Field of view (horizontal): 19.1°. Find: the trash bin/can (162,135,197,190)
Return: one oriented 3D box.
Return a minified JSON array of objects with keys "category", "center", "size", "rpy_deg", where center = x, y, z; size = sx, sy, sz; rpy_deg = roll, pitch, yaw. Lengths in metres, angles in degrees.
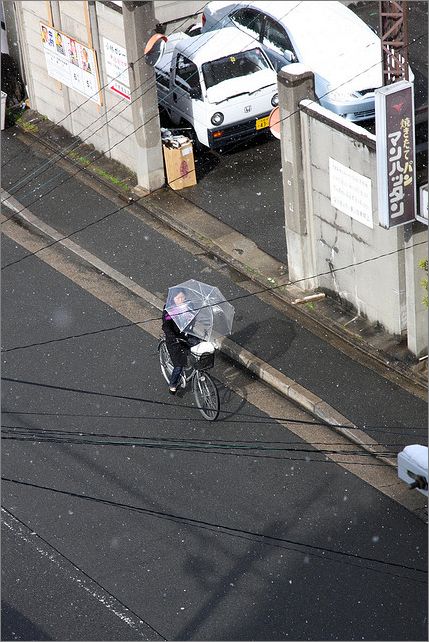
[{"category":"trash bin/can","center":[-0.619,-2.798,22.460],"size":[0.575,0.865,0.471],"rpy_deg":[-17,28,-22]}]

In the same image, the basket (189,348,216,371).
[{"category":"basket","center":[-0.176,0.534,16.701],"size":[0.219,0.226,0.276],"rpy_deg":[-16,24,-34]}]

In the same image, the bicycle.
[{"category":"bicycle","center":[-0.341,0.563,17.205],"size":[0.555,0.939,1.477],"rpy_deg":[-13,43,-25]}]

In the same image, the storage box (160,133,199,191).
[{"category":"storage box","center":[-0.568,-2.757,22.515],"size":[0.450,0.863,0.453],"rpy_deg":[-7,2,1]}]

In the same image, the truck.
[{"category":"truck","center":[-0.181,-4.699,24.189],"size":[2.039,1.827,3.511],"rpy_deg":[-16,36,-25]}]

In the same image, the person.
[{"category":"person","center":[-0.447,0.255,16.926],"size":[0.414,1.326,0.482],"rpy_deg":[-3,55,1]}]
